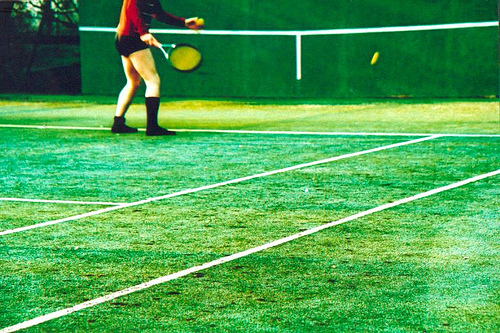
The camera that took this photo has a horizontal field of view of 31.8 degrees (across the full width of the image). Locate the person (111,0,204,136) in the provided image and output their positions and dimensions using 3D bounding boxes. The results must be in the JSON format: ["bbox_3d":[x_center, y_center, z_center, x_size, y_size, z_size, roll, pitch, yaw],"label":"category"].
[{"bbox_3d":[-1.550,-1.534,13.654,1.191,2.106,0.849,-5,17,-15],"label":"person"}]

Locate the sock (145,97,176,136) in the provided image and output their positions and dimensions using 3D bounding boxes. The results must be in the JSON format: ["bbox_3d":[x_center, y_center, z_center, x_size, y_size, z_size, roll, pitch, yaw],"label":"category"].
[{"bbox_3d":[-1.383,-0.785,13.668,0.455,0.608,0.241,-2,17,-5],"label":"sock"}]
